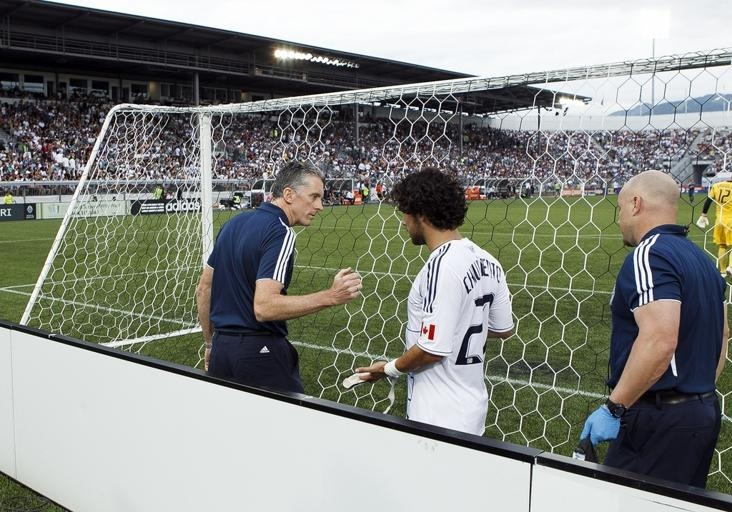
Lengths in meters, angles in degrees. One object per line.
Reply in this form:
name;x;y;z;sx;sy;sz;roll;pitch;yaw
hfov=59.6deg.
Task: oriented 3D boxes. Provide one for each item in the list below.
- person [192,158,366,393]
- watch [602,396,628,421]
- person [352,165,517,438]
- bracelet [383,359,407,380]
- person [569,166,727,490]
person;-0.540;0.149;3.655;1.029;1.370;0.599;1;6;2
watch;1.171;0.712;3.048;0.095;0.087;0.104;23;15;-15
person;0.377;0.237;3.266;0.786;1.367;0.495;1;6;3
bracelet;0.146;0.576;3.290;0.084;0.096;0.115;-14;24;12
person;1.429;0.371;3.120;0.651;1.569;0.531;3;6;20
